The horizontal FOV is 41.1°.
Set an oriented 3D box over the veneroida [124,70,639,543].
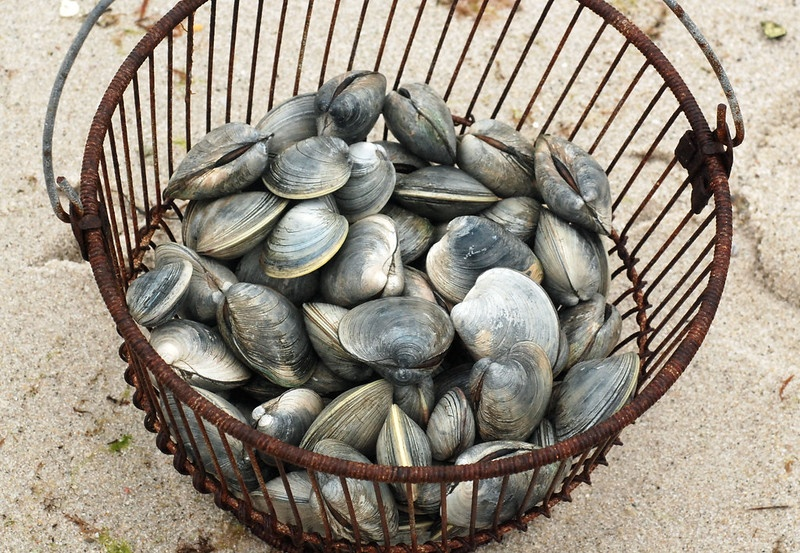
[{"bbox_3d":[-0.047,0.060,2.033,0.944,0.347,0.926,-2,67,-12],"label":"veneroida"}]
